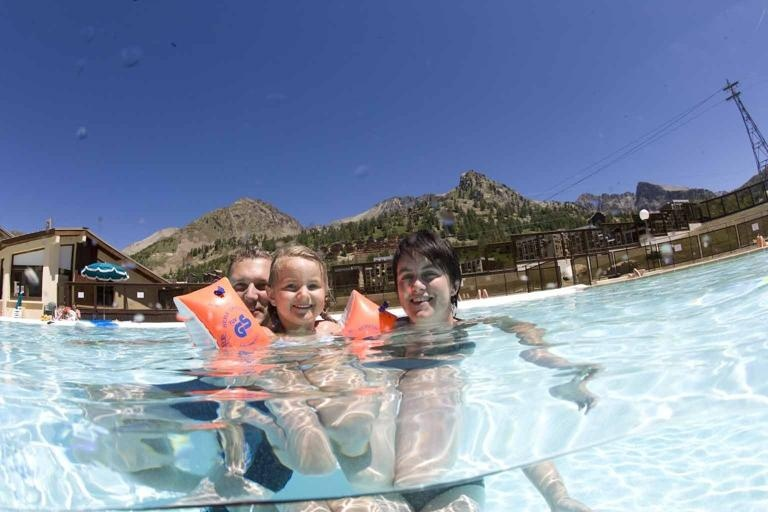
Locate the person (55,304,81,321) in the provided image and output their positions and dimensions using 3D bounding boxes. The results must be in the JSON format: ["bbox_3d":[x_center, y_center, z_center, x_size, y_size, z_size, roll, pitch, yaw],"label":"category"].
[{"bbox_3d":[-10.697,1.943,14.226,0.964,0.447,0.889,-3,-5,42],"label":"person"}]
